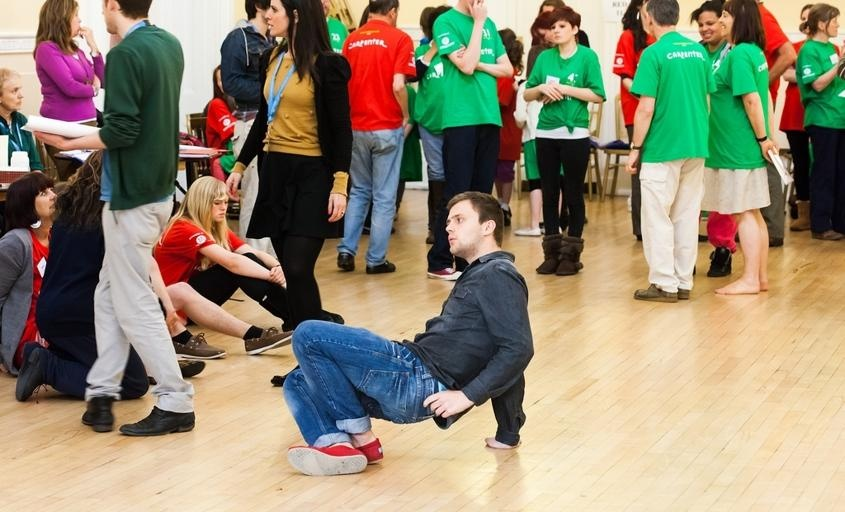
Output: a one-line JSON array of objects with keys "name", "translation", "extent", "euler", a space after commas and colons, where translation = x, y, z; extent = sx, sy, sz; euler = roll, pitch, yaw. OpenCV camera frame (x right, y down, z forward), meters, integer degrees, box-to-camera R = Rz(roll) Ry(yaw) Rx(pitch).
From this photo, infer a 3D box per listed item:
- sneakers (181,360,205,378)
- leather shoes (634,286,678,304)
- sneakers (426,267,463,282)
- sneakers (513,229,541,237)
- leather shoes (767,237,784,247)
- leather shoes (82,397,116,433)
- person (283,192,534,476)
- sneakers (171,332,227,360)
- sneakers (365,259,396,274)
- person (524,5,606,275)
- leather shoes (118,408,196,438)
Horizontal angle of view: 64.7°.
[{"name": "sneakers", "translation": [-1.419, 0.655, 3.965], "extent": [0.212, 0.066, 0.083], "euler": [10, 12, -40]}, {"name": "leather shoes", "translation": [1.855, 0.301, 5.389], "extent": [0.332, 0.128, 0.131], "euler": [6, 9, 26]}, {"name": "sneakers", "translation": [0.182, 0.149, 5.884], "extent": [0.324, 0.112, 0.125], "euler": [0, 9, 13]}, {"name": "sneakers", "translation": [1.160, -0.266, 7.520], "extent": [0.309, 0.110, 0.108], "euler": [1, 0, 15]}, {"name": "leather shoes", "translation": [3.630, -0.148, 6.896], "extent": [0.170, 0.105, 0.092], "euler": [-1, -3, -3]}, {"name": "leather shoes", "translation": [-1.637, 0.791, 3.405], "extent": [0.100, 0.144, 0.228], "euler": [0, 9, -22]}, {"name": "person", "translation": [-0.054, 0.570, 3.756], "extent": [1.605, 1.640, 0.841], "euler": [3, -11, 5]}, {"name": "sneakers", "translation": [-1.448, 0.582, 4.344], "extent": [0.407, 0.139, 0.131], "euler": [2, -3, 0]}, {"name": "sneakers", "translation": [-0.384, 0.086, 6.174], "extent": [0.306, 0.108, 0.108], "euler": [-4, 11, -29]}, {"name": "person", "translation": [1.259, -1.018, 6.018], "extent": [0.668, 2.282, 0.671], "euler": [-1, 16, -2]}, {"name": "leather shoes", "translation": [-1.309, 0.815, 3.361], "extent": [0.383, 0.139, 0.138], "euler": [2, -3, -10]}]
